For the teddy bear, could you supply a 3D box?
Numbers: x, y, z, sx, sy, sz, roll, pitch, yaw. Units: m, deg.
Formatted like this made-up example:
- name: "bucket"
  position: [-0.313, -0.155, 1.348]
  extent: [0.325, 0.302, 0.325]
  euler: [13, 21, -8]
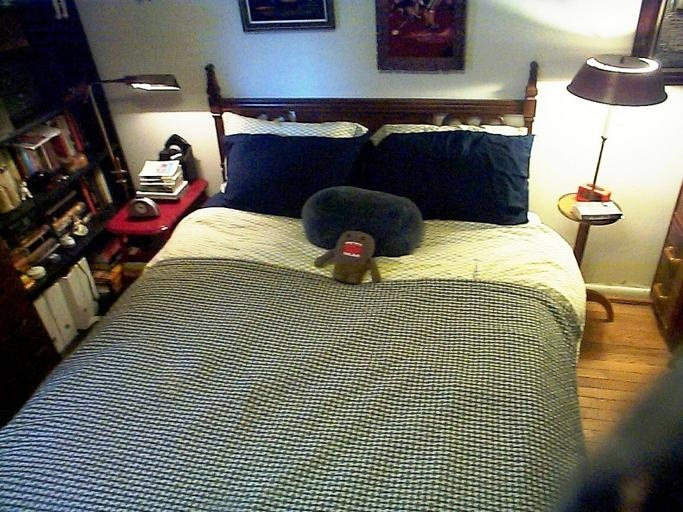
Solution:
- name: "teddy bear"
  position: [0.033, 0.005, 2.180]
  extent: [0.269, 0.079, 0.172]
  euler: [11, 72, 18]

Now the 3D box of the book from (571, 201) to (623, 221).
- name: "book"
  position: [1.296, -0.233, 2.546]
  extent: [0.159, 0.033, 0.138]
  euler: [2, 31, 7]

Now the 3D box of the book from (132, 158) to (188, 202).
- name: "book"
  position: [-1.090, -0.455, 3.029]
  extent: [0.305, 0.152, 0.265]
  euler: [-1, 32, -3]

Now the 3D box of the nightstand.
- name: "nightstand"
  position: [-1.008, -0.114, 2.753]
  extent: [0.457, 0.517, 0.550]
  euler: [15, 53, 6]

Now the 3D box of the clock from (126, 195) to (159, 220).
- name: "clock"
  position: [-1.129, -0.280, 2.873]
  extent: [0.218, 0.135, 0.064]
  euler: [1, 49, -2]
